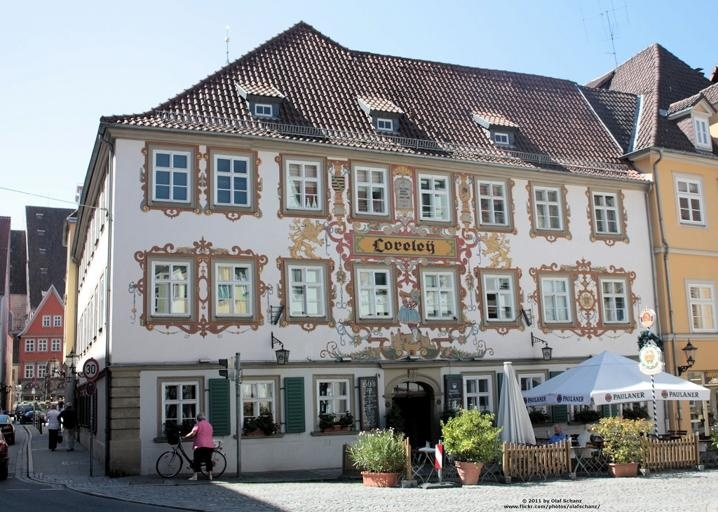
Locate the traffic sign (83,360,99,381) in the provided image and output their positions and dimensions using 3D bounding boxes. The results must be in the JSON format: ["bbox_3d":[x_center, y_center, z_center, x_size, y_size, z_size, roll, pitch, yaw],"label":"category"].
[{"bbox_3d":[-8.384,3.589,26.531,0.397,0.718,0.929,4,-13,-27],"label":"traffic sign"}]

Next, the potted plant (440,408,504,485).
[{"bbox_3d":[3.550,5.704,25.028,1.736,1.895,1.797,4,-7,-34],"label":"potted plant"}]

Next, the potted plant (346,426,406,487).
[{"bbox_3d":[0.636,5.905,24.457,1.530,1.563,0.868,-2,-12,2],"label":"potted plant"}]

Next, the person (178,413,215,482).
[{"bbox_3d":[-4.941,5.982,26.368,0.773,2.032,1.353,0,-12,-11],"label":"person"}]

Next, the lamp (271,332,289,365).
[{"bbox_3d":[-2.715,3.206,29.225,0.628,1.122,0.395,1,-12,-14],"label":"lamp"}]

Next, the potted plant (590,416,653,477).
[{"bbox_3d":[8.073,6.031,26.181,1.612,1.616,1.246,-1,3,-15],"label":"potted plant"}]

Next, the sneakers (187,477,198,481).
[{"bbox_3d":[-5.146,6.926,26.180,0.252,0.108,0.116,-4,-12,38],"label":"sneakers"}]

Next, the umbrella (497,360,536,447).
[{"bbox_3d":[4.919,4.713,27.038,1.034,2.532,0.514,-4,-12,8],"label":"umbrella"}]

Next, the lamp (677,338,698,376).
[{"bbox_3d":[13.348,4.174,34.547,0.845,1.454,1.332,-6,-13,20],"label":"lamp"}]

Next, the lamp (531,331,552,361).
[{"bbox_3d":[7.126,3.496,32.827,0.961,1.152,0.428,6,-14,-32],"label":"lamp"}]

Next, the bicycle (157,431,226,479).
[{"bbox_3d":[-5.359,6.690,27.592,2.339,1.457,1.157,7,-20,-15],"label":"bicycle"}]

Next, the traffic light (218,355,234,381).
[{"bbox_3d":[-4.182,3.584,26.929,0.494,0.681,0.943,0,-12,-8],"label":"traffic light"}]
